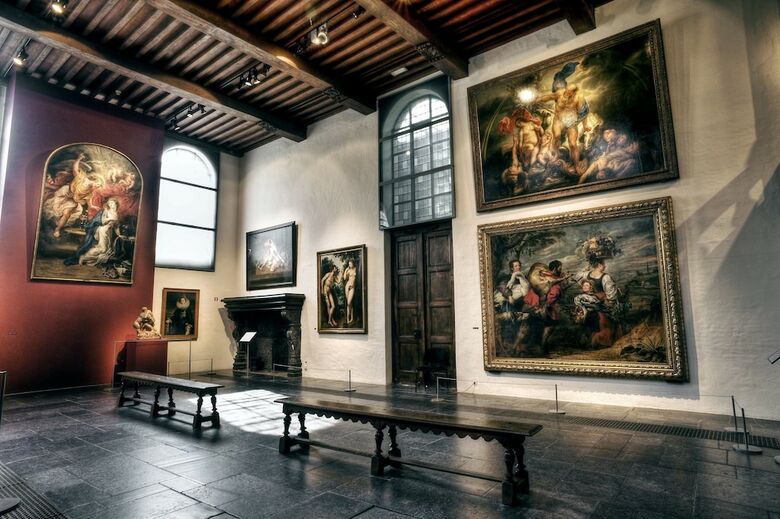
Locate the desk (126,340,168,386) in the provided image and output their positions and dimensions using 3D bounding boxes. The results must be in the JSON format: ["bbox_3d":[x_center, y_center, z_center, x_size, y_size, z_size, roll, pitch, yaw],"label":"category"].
[{"bbox_3d":[-6.275,2.648,12.855,1.069,0.989,0.572,10,-19,-44],"label":"desk"}]

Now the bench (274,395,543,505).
[{"bbox_3d":[-0.006,2.902,7.986,4.426,0.998,0.812,-2,-6,30],"label":"bench"}]

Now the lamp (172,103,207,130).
[{"bbox_3d":[-6.213,-4.388,15.447,1.166,0.261,0.718,-13,-24,40],"label":"lamp"}]

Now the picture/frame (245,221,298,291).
[{"bbox_3d":[-3.796,-0.088,16.399,2.339,1.912,0.164,-5,-7,37],"label":"picture/frame"}]

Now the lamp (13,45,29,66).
[{"bbox_3d":[-9.128,-4.945,12.269,0.536,0.377,0.138,-10,-12,30],"label":"lamp"}]
